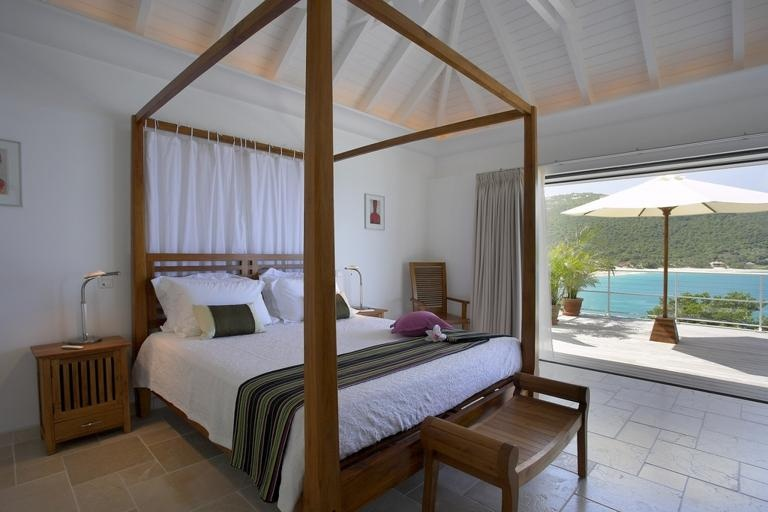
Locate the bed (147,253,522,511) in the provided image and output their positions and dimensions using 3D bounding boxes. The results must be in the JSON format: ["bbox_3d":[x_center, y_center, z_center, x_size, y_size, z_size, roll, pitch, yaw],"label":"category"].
[{"bbox_3d":[-0.872,1.148,4.509,2.702,1.431,2.745,0,2,41],"label":"bed"}]

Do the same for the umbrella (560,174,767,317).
[{"bbox_3d":[5.036,-0.611,8.599,2.945,2.160,3.169,-1,2,30],"label":"umbrella"}]

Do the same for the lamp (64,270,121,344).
[{"bbox_3d":[-3.047,0.527,4.841,0.517,0.718,0.412,-3,2,-30],"label":"lamp"}]

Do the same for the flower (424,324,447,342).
[{"bbox_3d":[0.534,0.804,4.832,0.183,0.070,0.163,-6,32,6],"label":"flower"}]
